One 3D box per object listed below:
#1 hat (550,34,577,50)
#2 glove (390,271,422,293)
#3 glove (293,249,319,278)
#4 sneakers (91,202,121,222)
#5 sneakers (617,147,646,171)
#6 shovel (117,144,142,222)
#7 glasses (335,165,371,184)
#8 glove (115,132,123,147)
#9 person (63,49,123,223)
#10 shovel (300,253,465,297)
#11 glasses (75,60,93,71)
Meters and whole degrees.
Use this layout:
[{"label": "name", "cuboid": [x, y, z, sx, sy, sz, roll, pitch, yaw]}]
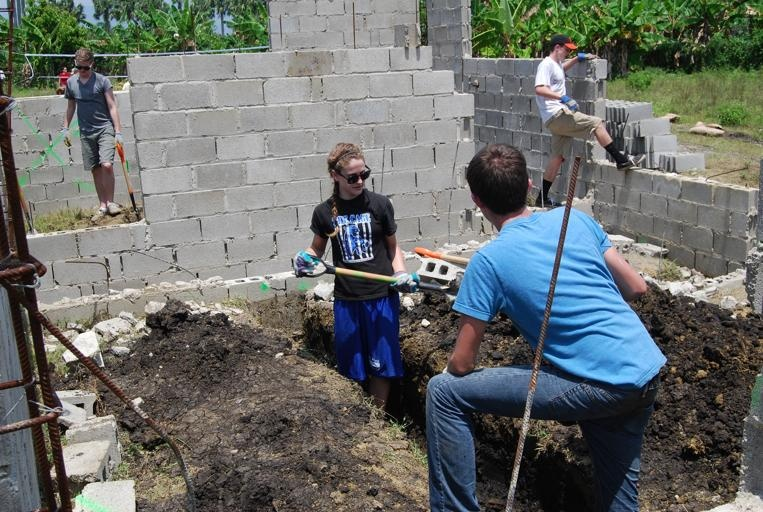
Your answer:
[{"label": "hat", "cuboid": [2.505, -2.956, 9.720, 0.282, 0.166, 0.207, 7, 20, 0]}, {"label": "glove", "cuboid": [0.203, 0.220, 5.957, 0.189, 0.092, 0.154, 7, 46, 8]}, {"label": "glove", "cuboid": [-0.657, 0.058, 6.221, 0.174, 0.238, 0.082, -1, 1, 5]}, {"label": "sneakers", "cuboid": [-4.109, -0.656, 10.536, 0.260, 0.204, 0.458, -27, 1, -37]}, {"label": "sneakers", "cuboid": [3.529, -1.367, 9.907, 0.530, 0.239, 0.197, -20, 7, -32]}, {"label": "shovel", "cuboid": [-3.619, -1.104, 10.044, 0.139, 1.022, 0.092, -18, 17, -29]}, {"label": "glasses", "cuboid": [-0.247, -0.686, 6.068, 0.170, 0.063, 0.183, -18, 37, -17]}, {"label": "glove", "cuboid": [-3.693, -1.640, 9.864, 0.058, 0.177, 0.124, -4, 1, 33]}, {"label": "person", "cuboid": [-4.121, -1.696, 10.090, 0.730, 2.487, 1.007, -9, 16, -28]}, {"label": "shovel", "cuboid": [0.031, 0.165, 6.448, 1.024, 0.215, 0.231, 12, 37, 5]}, {"label": "glasses", "cuboid": [-4.069, -2.618, 9.635, 0.197, 0.073, 0.217, 2, 26, -8]}]
